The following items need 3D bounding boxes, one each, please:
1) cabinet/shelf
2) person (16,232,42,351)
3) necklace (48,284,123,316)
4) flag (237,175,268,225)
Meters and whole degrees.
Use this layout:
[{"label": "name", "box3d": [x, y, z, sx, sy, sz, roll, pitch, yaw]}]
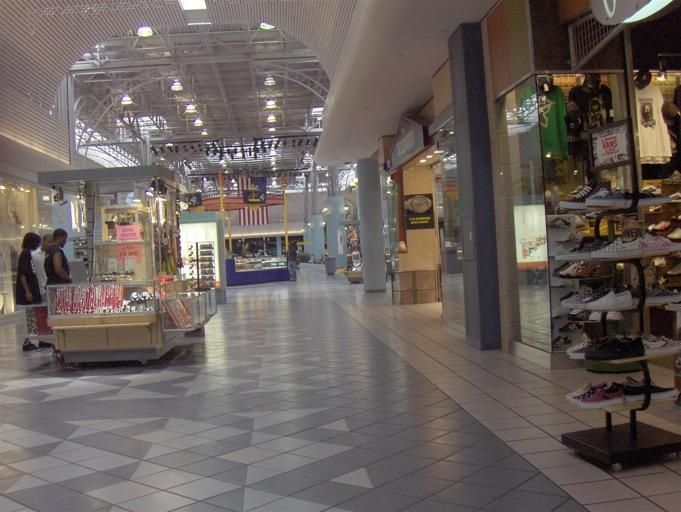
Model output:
[{"label": "cabinet/shelf", "box3d": [-3.092, 0.105, 7.766, 1.959, 2.115, 2.442, 4, 8, -17]}, {"label": "person", "box3d": [-4.653, 0.549, 7.872, 0.384, 1.576, 1.340, -5, 3, -29]}, {"label": "necklace", "box3d": [-3.248, 0.541, 6.732, 0.941, 0.339, 0.042, -3, 2, -2]}, {"label": "flag", "box3d": [-4.872, -3.060, 29.225, 1.523, 2.493, 4.621, -4, 3, -10]}]
